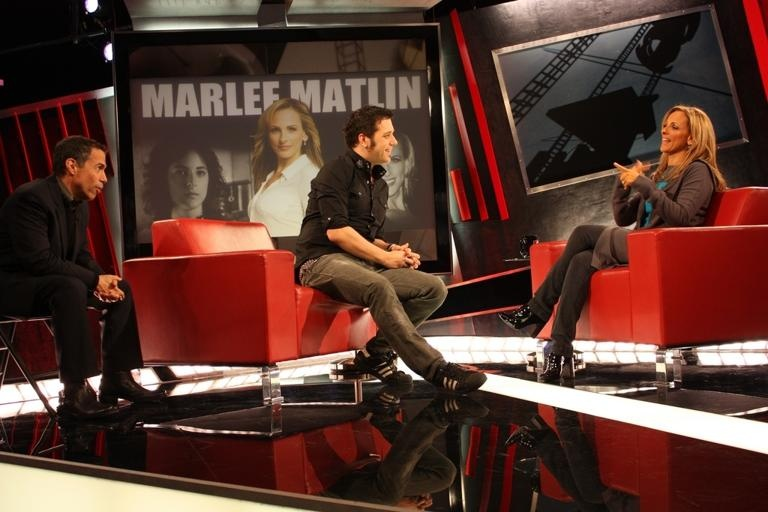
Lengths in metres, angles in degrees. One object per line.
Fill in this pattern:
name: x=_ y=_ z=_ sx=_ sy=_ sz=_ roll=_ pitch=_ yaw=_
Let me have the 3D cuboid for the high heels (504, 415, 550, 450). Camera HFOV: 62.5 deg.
high heels: x=0.641 y=0.792 z=2.775 sx=0.073 sy=0.084 sz=0.226 roll=5 pitch=-4 yaw=40

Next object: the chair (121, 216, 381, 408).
chair: x=-0.708 y=0.258 z=3.973 sx=0.974 sy=0.930 sz=1.353 roll=-3 pitch=0 yaw=26

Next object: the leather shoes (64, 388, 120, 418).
leather shoes: x=-1.521 y=0.747 z=3.200 sx=0.298 sy=0.161 sz=0.112 roll=-2 pitch=6 yaw=-5

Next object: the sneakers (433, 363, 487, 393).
sneakers: x=0.393 y=0.640 z=3.293 sx=0.266 sy=0.132 sz=0.124 roll=-1 pitch=-40 yaw=27
